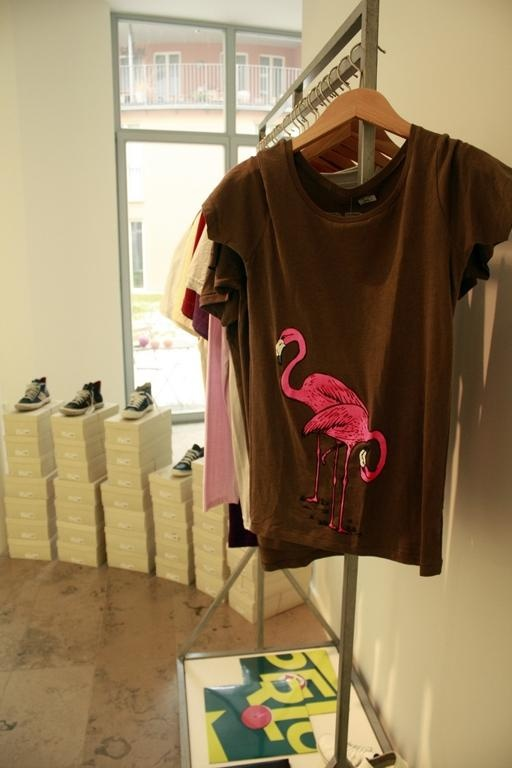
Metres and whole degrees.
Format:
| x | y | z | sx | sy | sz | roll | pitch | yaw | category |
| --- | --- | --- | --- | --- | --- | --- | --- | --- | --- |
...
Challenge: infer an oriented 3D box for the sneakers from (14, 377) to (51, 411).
| x | y | z | sx | sy | sz | roll | pitch | yaw | category |
| --- | --- | --- | --- | --- | --- | --- | --- | --- | --- |
| -1.056 | 0.052 | 2.974 | 0.083 | 0.107 | 0.249 | -1 | 3 | 5 | sneakers |

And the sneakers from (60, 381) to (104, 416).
| x | y | z | sx | sy | sz | roll | pitch | yaw | category |
| --- | --- | --- | --- | --- | --- | --- | --- | --- | --- |
| -0.792 | 0.069 | 2.887 | 0.088 | 0.132 | 0.293 | 0 | 6 | 20 | sneakers |
